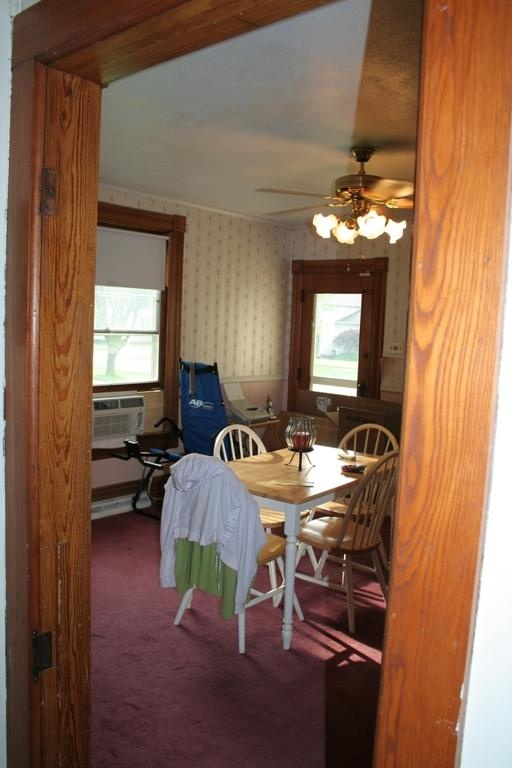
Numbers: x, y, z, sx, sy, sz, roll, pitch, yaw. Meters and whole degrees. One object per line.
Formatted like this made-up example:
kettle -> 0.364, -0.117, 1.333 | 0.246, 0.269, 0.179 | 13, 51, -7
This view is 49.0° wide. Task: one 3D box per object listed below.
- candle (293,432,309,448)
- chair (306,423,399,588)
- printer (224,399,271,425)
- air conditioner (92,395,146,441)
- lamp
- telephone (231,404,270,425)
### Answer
candle -> 0.259, 0.317, 3.256 | 0.081, 0.094, 0.087 | 1, -3, 9
chair -> 0.479, 0.776, 3.084 | 0.482, 0.955, 0.487 | 10, 8, 34
printer -> -0.117, 0.274, 5.614 | 0.238, 0.139, 0.326 | -9, 19, -38
air conditioner -> -1.132, 0.266, 4.664 | 0.299, 0.451, 0.530 | 2, 3, 40
lamp -> 0.805, -1.263, 4.212 | 0.808, 0.646, 0.838 | 1, -7, -4
telephone -> -0.008, 0.295, 5.590 | 0.401, 0.173, 0.354 | -1, 5, -43
